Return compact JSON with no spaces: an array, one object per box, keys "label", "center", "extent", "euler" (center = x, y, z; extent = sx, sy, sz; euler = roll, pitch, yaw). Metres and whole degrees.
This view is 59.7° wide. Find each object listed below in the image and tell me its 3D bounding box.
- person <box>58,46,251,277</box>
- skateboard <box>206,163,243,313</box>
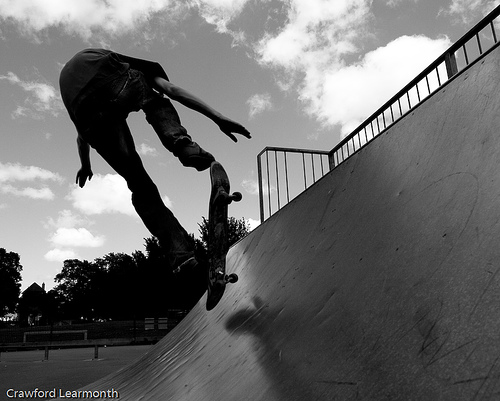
[{"label":"person","center":[-0.927,-0.371,3.751],"extent":[1.401,2.123,0.610],"euler":[-10,-14,9]},{"label":"skateboard","center":[-0.220,0.275,3.387],"extent":[0.267,1.313,0.163],"euler":[-1,-1,13]}]
